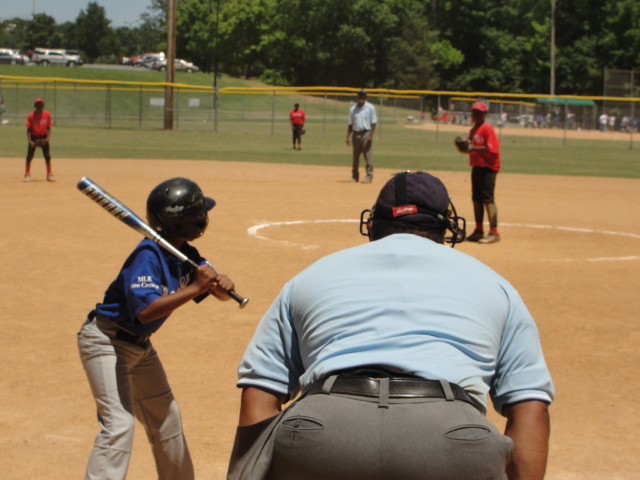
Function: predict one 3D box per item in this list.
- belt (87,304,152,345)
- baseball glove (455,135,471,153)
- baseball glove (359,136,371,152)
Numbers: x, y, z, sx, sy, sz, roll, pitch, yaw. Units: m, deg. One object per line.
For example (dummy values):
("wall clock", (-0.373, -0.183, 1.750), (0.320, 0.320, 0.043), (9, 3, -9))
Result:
("belt", (-2.051, 0.872, 10.997), (0.617, 0.360, 0.165), (1, 9, -4))
("baseball glove", (2.220, -1.468, 17.166), (0.251, 0.252, 0.317), (2, 8, 6))
("baseball glove", (0.907, -1.941, 22.694), (0.331, 0.232, 0.432), (-4, -21, 10))
